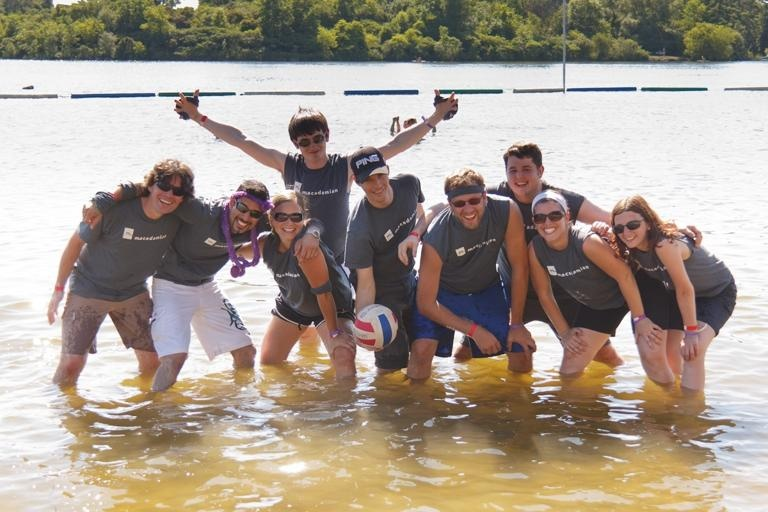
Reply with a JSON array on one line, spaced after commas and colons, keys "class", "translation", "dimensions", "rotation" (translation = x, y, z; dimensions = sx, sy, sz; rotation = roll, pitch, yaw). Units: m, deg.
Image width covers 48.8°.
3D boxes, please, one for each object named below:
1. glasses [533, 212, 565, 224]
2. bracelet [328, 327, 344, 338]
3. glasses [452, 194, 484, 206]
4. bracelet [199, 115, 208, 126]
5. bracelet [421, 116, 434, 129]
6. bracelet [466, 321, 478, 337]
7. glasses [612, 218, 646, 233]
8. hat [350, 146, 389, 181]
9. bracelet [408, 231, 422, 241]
[{"class": "glasses", "translation": [2.045, -0.475, 10.581], "dimensions": [0.371, 0.156, 0.080], "rotation": [0, 11, 9]}, {"class": "bracelet", "translation": [-0.636, 1.021, 11.131], "dimensions": [0.163, 0.101, 0.158], "rotation": [-29, -5, 37]}, {"class": "glasses", "translation": [1.043, -0.688, 10.659], "dimensions": [0.408, 0.163, 0.135], "rotation": [-1, 11, 4]}, {"class": "bracelet", "translation": [-2.581, -1.936, 12.087], "dimensions": [0.139, 0.138, 0.044], "rotation": [16, -2, 34]}, {"class": "bracelet", "translation": [0.620, -1.868, 11.943], "dimensions": [0.084, 0.174, 0.235], "rotation": [-31, -5, -6]}, {"class": "bracelet", "translation": [1.140, 0.974, 11.098], "dimensions": [0.037, 0.158, 0.158], "rotation": [30, -26, -8]}, {"class": "glasses", "translation": [3.000, -0.353, 10.459], "dimensions": [0.330, 0.169, 0.066], "rotation": [1, 11, 15]}, {"class": "hat", "translation": [-0.238, -1.218, 10.849], "dimensions": [0.478, 0.371, 0.679], "rotation": [-17, 18, -6]}, {"class": "bracelet", "translation": [0.399, -0.258, 10.995], "dimensions": [0.112, 0.071, 0.110], "rotation": [-4, 19, -30]}]
